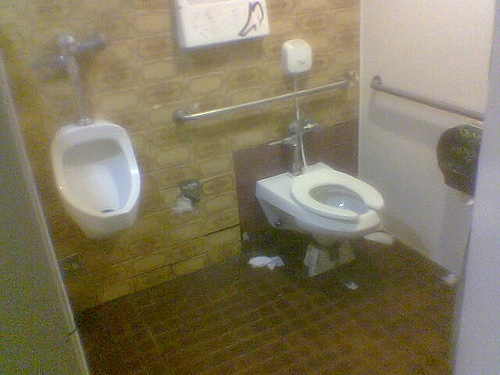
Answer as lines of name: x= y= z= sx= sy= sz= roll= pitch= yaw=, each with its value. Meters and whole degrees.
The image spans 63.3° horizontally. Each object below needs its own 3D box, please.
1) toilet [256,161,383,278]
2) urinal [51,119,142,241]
toilet: x=0.298 y=0.091 z=2.071 sx=0.509 sy=0.436 sz=0.629 roll=-23 pitch=44 yaw=-28
urinal: x=-0.664 y=-0.038 z=1.779 sx=0.368 sy=0.457 sz=0.286 roll=-16 pitch=8 yaw=-25
